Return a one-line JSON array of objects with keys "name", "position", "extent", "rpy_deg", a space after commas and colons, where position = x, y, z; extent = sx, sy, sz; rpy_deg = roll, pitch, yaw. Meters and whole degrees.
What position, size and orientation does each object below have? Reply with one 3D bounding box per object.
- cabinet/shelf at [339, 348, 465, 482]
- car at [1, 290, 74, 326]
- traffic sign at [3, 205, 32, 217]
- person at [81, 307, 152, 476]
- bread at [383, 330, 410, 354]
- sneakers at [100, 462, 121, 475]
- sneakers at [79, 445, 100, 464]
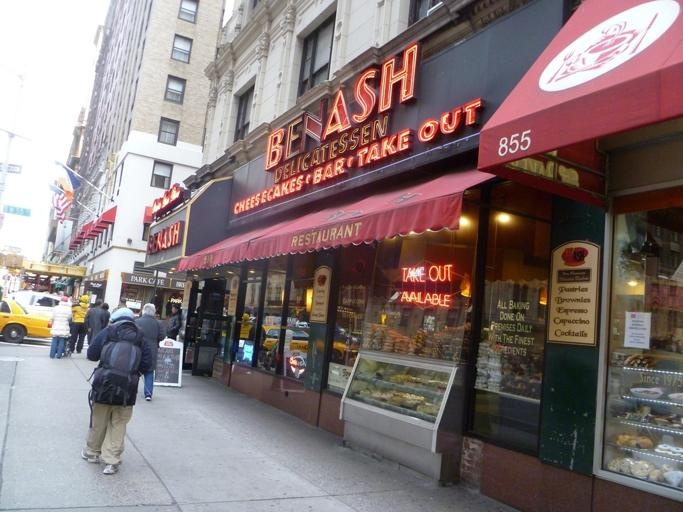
[{"name": "cabinet/shelf", "position": [0.911, 2.436, 8.274], "extent": [0.651, 1.616, 2.037], "rpy_deg": [9, -7, -41]}, {"name": "car", "position": [-11.867, 2.069, 20.108], "extent": [2.205, 0.796, 1.051], "rpy_deg": [8, -2, -4]}, {"name": "traffic sign", "position": [-14.204, -1.954, 22.757], "extent": [1.046, 0.468, 2.079], "rpy_deg": [9, -5, -34]}, {"name": "person", "position": [-3.003, 1.734, 6.923], "extent": [0.713, 1.757, 0.845], "rpy_deg": [9, -6, -40]}, {"name": "bread", "position": [0.924, 1.451, 8.639], "extent": [0.344, 0.128, 0.349], "rpy_deg": [2, 0, 42]}, {"name": "sneakers", "position": [-2.921, 2.702, 6.575], "extent": [0.094, 0.186, 0.269], "rpy_deg": [3, -28, -9]}, {"name": "sneakers", "position": [-3.345, 2.639, 6.930], "extent": [0.113, 0.144, 0.296], "rpy_deg": [0, 13, -41]}]
